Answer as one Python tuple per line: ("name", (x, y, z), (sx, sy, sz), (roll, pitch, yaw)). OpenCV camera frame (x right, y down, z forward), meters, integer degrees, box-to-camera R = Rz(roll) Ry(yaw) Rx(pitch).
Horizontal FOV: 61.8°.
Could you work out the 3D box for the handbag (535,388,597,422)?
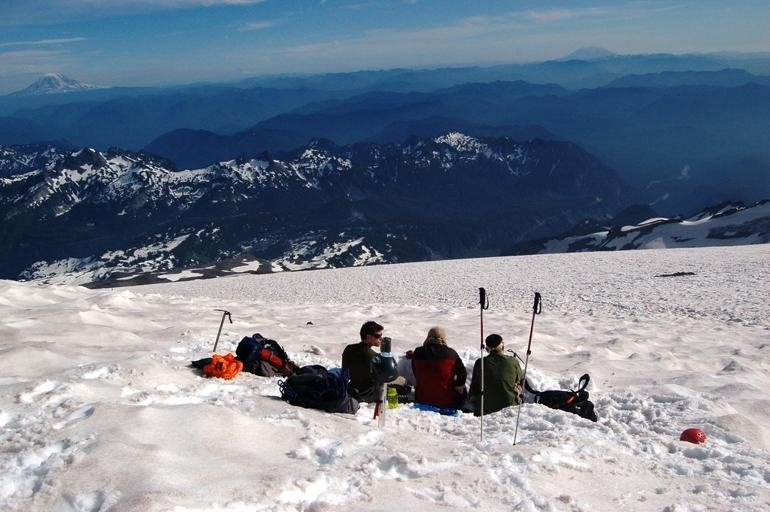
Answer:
("handbag", (3.792, 3.046, 13.428), (0.903, 0.789, 0.555), (-7, 48, 31))
